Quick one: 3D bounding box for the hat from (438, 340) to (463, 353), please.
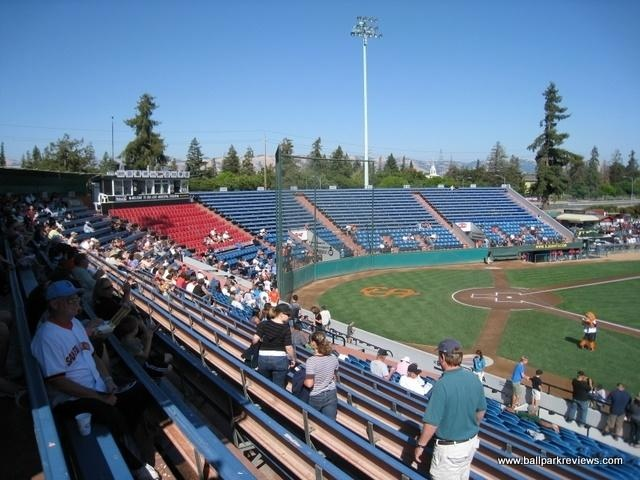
[{"bbox_3d":[1.274,1.048,4.394,0.210,0.125,0.222,1,6,14],"label":"hat"}]

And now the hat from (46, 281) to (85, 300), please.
[{"bbox_3d":[-2.418,0.466,4.231,0.219,0.152,0.328,-1,6,-7],"label":"hat"}]

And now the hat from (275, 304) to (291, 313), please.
[{"bbox_3d":[-0.539,1.008,6.495,0.163,0.178,0.128,12,-9,-38],"label":"hat"}]
